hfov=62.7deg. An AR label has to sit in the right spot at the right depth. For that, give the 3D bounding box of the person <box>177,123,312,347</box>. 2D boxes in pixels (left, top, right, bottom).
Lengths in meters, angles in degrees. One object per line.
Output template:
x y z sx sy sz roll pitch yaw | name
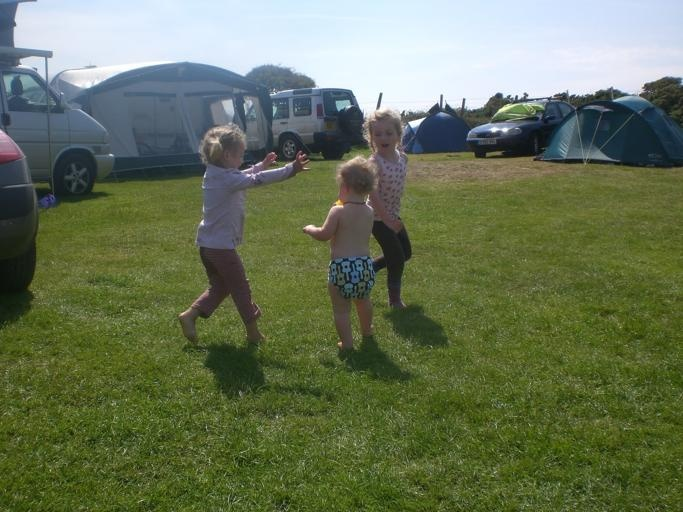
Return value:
-0.760 -0.138 4.006 0.842 1.517 0.331 -3 14 -4 | person

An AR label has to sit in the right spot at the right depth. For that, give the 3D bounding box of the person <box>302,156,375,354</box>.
0.042 -0.023 4.047 0.550 1.330 0.348 -11 17 -31 | person
